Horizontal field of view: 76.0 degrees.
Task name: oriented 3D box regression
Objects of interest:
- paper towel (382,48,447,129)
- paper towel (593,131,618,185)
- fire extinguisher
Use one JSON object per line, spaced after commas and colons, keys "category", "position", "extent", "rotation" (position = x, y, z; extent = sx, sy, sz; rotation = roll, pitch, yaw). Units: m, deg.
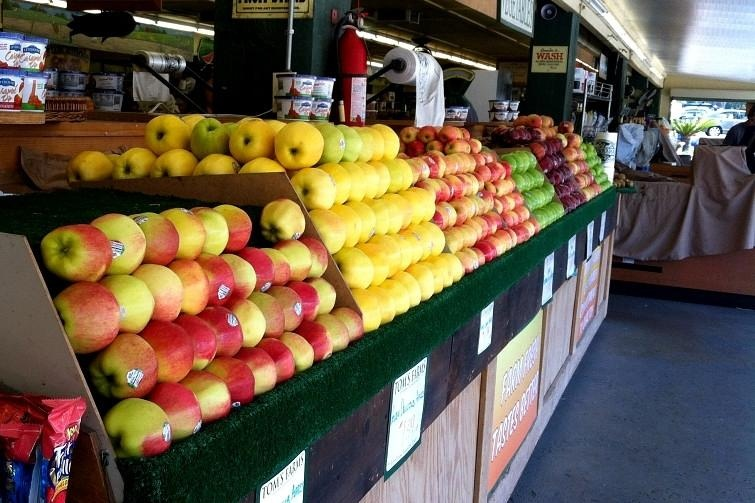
{"category": "paper towel", "position": [0.287, -1.267, 3.870], "extent": [0.380, 0.567, 0.617], "rotation": [17, 20, 33]}
{"category": "paper towel", "position": [2.274, -0.892, 4.767], "extent": [0.223, 0.622, 0.227], "rotation": [9, -26, 16]}
{"category": "fire extinguisher", "position": [-0.140, -1.032, 2.665], "extent": [0.174, 0.612, 0.367], "rotation": [1, 13, -6]}
